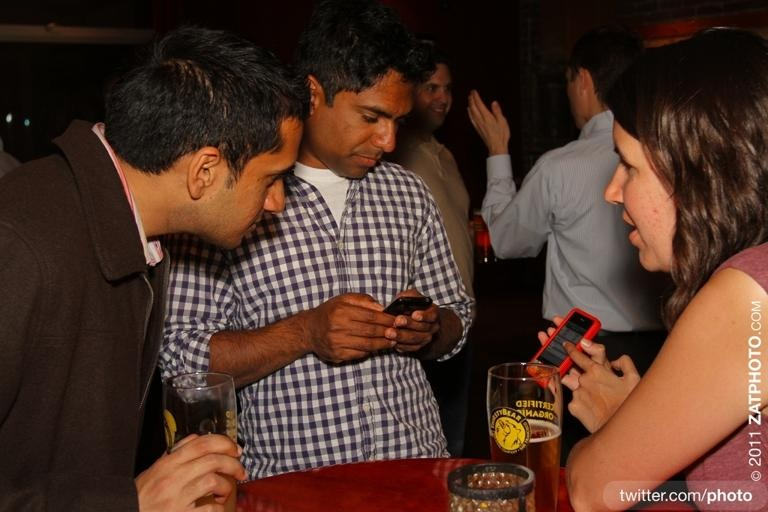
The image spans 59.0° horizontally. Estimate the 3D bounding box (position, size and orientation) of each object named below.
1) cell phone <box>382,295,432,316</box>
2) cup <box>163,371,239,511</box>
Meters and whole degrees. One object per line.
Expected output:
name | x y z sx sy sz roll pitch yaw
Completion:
cell phone | 0.078 0.172 2.290 0.072 0.122 0.016 9 47 -32
cup | -0.457 0.380 1.679 0.174 0.174 0.156 -5 26 -13
